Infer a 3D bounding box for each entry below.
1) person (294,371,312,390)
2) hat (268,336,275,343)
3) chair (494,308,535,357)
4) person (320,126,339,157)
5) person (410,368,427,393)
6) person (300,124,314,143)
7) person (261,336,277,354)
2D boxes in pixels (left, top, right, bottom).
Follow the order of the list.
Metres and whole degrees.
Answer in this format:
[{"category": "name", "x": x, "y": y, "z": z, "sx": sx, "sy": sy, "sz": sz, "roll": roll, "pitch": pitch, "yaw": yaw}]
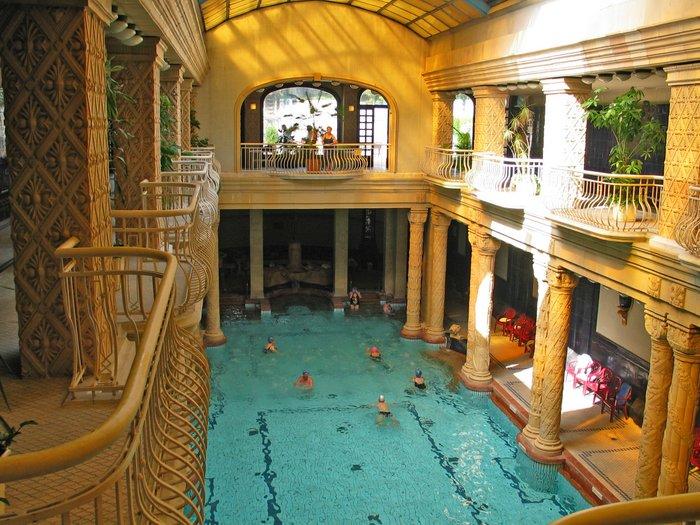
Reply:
[{"category": "person", "x": -1.406, "y": 3.680, "z": 14.308, "sx": 0.563, "sy": 0.829, "sz": 0.466, "roll": 3, "pitch": 5, "yaw": -4}, {"category": "hat", "x": -2.818, "y": 2.740, "z": 16.497, "sx": 0.143, "sy": 0.183, "sz": 0.175, "roll": 29, "pitch": 3, "yaw": 26}, {"category": "chair", "x": 6.117, "y": 2.640, "z": 17.144, "sx": 0.436, "sy": 0.642, "sz": 1.338, "roll": -4, "pitch": 15, "yaw": -14}, {"category": "person", "x": -0.815, "y": -4.646, "z": 17.824, "sx": 0.567, "sy": 1.315, "sz": 1.396, "roll": -1, "pitch": 10, "yaw": -4}, {"category": "person", "x": 2.166, "y": 3.675, "z": 14.390, "sx": 0.517, "sy": 0.744, "sz": 0.531, "roll": -4, "pitch": 26, "yaw": 9}, {"category": "person", "x": -1.543, "y": -4.766, "z": 17.311, "sx": 0.364, "sy": 0.699, "sz": 0.884, "roll": -2, "pitch": 10, "yaw": -12}, {"category": "person", "x": -2.893, "y": 2.883, "z": 16.632, "sx": 0.534, "sy": 0.478, "sz": 0.881, "roll": -2, "pitch": 10, "yaw": -11}]
